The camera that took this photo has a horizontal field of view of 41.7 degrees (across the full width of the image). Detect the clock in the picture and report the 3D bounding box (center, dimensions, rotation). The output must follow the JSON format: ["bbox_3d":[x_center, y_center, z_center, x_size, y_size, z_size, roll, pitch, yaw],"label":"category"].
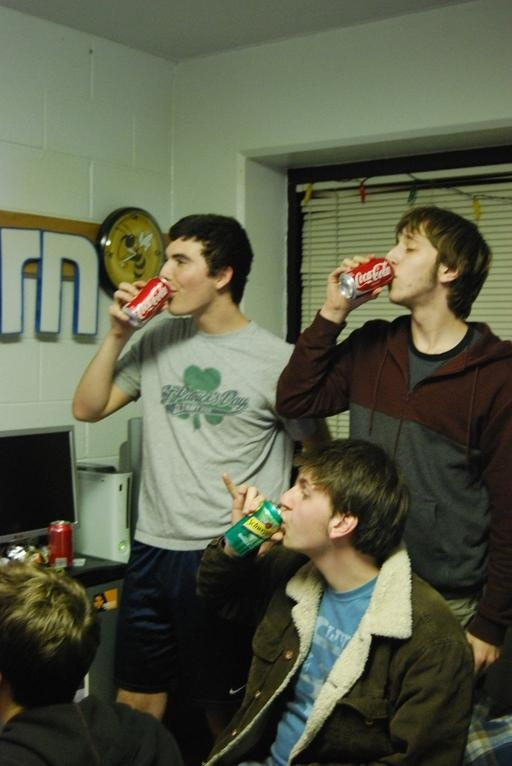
[{"bbox_3d":[-0.434,-0.469,2.416,0.362,0.328,0.048,9,10,39],"label":"clock"}]

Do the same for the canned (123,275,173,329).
[{"bbox_3d":[-0.255,-0.188,1.592,0.117,0.116,0.084,0,4,-17],"label":"canned"}]
